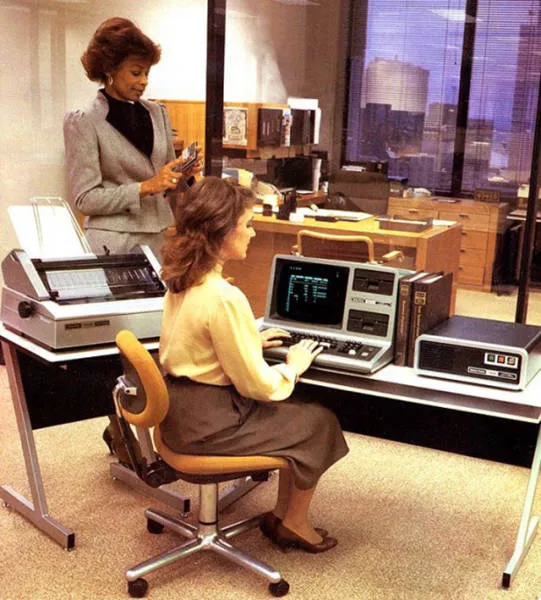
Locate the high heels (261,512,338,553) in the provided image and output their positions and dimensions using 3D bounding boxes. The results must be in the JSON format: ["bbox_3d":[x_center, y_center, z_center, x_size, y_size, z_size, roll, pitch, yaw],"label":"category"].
[{"bbox_3d":[0.105,0.868,1.988,0.242,0.076,0.132,9,0,-2],"label":"high heels"}]

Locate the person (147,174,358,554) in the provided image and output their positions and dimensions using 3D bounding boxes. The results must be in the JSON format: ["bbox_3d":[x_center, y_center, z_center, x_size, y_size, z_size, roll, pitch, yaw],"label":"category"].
[{"bbox_3d":[-0.042,0.263,1.735,0.758,1.139,0.541,4,2,-33],"label":"person"}]

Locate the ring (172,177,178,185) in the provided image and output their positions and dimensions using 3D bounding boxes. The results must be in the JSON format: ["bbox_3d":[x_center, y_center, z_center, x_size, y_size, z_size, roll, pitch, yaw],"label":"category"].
[{"bbox_3d":[-0.403,-0.507,2.274,0.028,0.031,0.010,0,3,2],"label":"ring"}]
